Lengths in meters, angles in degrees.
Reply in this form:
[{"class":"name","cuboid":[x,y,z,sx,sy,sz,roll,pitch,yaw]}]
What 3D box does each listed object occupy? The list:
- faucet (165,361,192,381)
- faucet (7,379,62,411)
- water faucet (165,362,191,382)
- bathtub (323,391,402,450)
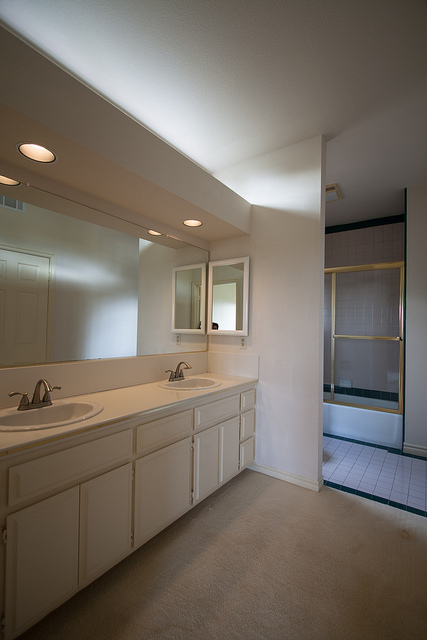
[{"class":"faucet","cuboid":[-0.245,0.366,3.021,0.114,0.122,0.154,-5,-8,32]},{"class":"faucet","cuboid":[-0.821,0.363,2.034,0.115,0.153,0.244,5,-3,30]},{"class":"water faucet","cuboid":[-0.259,0.370,3.026,0.116,0.125,0.155,-6,-8,33]},{"class":"bathtub","cuboid":[1.462,0.953,4.168,0.777,0.375,0.495,6,8,37]}]
